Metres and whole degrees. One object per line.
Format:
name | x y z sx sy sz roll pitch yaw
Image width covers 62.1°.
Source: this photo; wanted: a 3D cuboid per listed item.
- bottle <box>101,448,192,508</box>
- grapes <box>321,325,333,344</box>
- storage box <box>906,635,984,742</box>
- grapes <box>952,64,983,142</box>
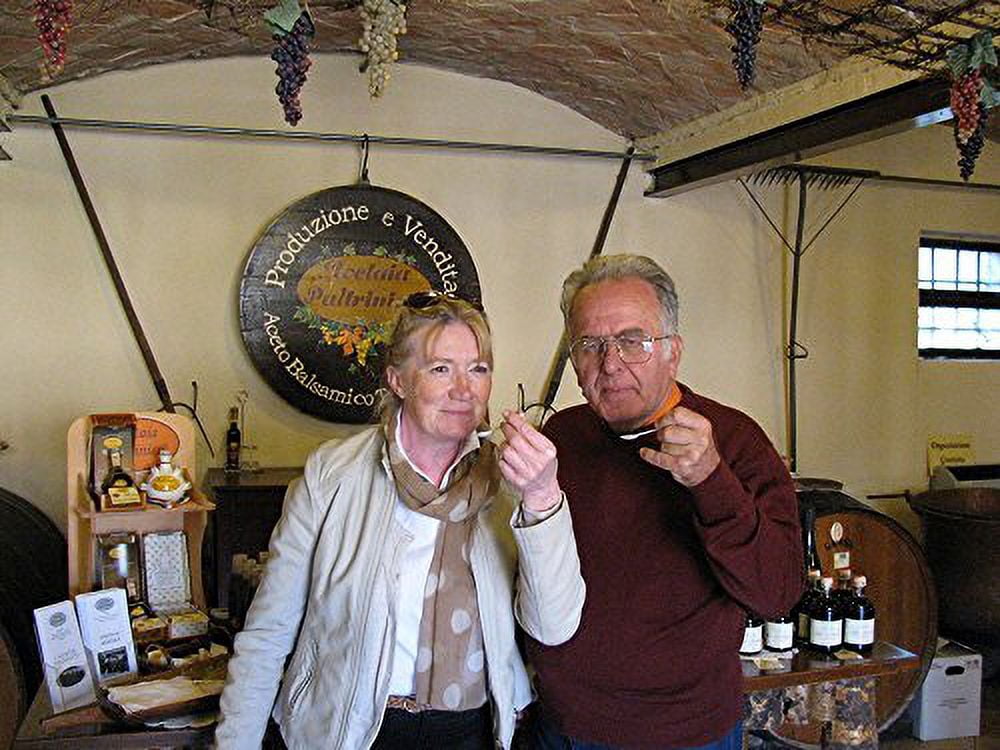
bottle | -1.243 0.359 2.917 0.286 0.207 0.172 0 -6 -21
grapes | -0.850 -0.198 4.086 0.075 0.076 0.043 11 -12 -30
storage box | 2.168 1.553 4.023 0.333 0.411 0.092 -2 -5 -5
grapes | 1.376 -0.803 2.439 0.054 0.148 0.045 1 20 28
